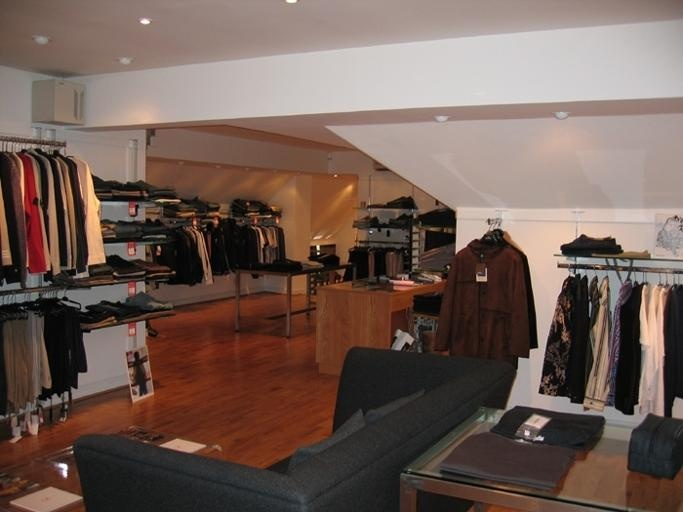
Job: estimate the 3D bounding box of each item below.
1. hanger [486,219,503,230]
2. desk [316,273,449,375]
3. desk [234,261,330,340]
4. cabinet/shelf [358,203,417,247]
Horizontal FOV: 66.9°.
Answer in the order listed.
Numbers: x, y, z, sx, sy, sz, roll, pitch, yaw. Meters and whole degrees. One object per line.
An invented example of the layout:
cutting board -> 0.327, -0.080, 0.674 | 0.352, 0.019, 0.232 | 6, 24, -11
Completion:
hanger -> 1.359, -0.290, 4.596 | 0.078, 0.129, 0.134 | 21, -9, -34
desk -> 0.377, 0.815, 6.348 | 0.873, 0.860, 1.688 | 2, -3, 18
desk -> -0.783, 0.667, 8.261 | 0.912, 0.931, 1.944 | 3, 1, 23
cabinet/shelf -> 0.722, -0.453, 7.985 | 1.085, 0.727, 0.598 | 3, 5, 26
